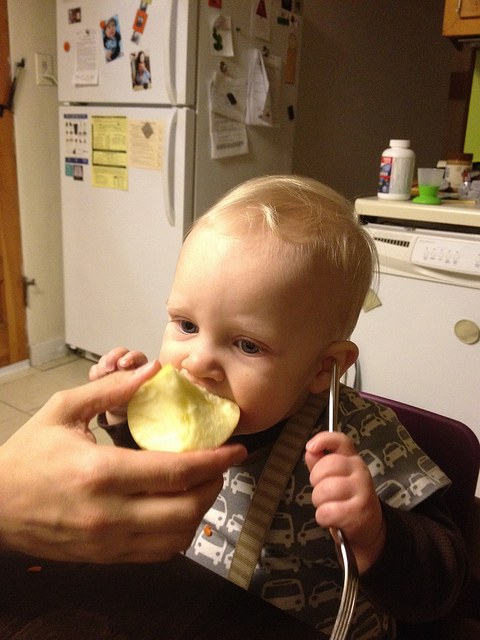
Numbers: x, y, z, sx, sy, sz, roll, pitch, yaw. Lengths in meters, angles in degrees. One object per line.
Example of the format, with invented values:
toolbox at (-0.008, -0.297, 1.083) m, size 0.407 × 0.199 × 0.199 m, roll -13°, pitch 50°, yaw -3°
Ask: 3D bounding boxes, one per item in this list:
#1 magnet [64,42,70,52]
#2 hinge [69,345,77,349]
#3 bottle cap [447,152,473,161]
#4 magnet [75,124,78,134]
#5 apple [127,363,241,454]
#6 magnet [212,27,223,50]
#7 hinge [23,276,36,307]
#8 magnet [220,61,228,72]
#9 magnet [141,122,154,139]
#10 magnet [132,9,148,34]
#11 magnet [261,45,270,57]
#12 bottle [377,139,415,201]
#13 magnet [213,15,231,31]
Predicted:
magnet at (-0.818, -1.286, 2.355) m, size 0.028 × 0.038 × 0.010 m, roll 12°, pitch 13°, yaw 42°
hinge at (-0.960, 0.154, 2.871) m, size 0.031 × 0.008 × 0.031 m, roll 5°, pitch -11°, yaw 25°
bottle cap at (0.865, -0.648, 1.984) m, size 0.059 × 0.024 × 0.058 m, roll -15°, pitch 21°, yaw -43°
magnet at (-0.803, -0.941, 2.437) m, size 0.008 × 0.028 × 0.015 m, roll -8°, pitch 21°, yaw -30°
apple at (-0.064, 0.103, 0.553) m, size 0.114 × 0.068 × 0.126 m, roll 6°, pitch 39°, yaw 1°
magnet at (-0.091, -1.136, 2.006) m, size 0.027 × 0.067 × 0.008 m, roll -20°, pitch 22°, yaw -32°
hinge at (-1.128, -0.159, 2.653) m, size 0.042 × 0.147 × 0.120 m, roll -5°, pitch 19°, yaw -30°
magnet at (-0.069, -1.050, 2.067) m, size 0.031 × 0.035 × 0.010 m, roll -5°, pitch 6°, yaw -22°
magnet at (-0.398, -0.812, 2.129) m, size 0.014 × 0.054 × 0.054 m, roll -8°, pitch 63°, yaw -45°
magnet at (-0.410, -1.219, 2.035) m, size 0.075 × 0.079 × 0.075 m, roll 14°, pitch 22°, yaw -4°
magnet at (0.113, -1.213, 2.250) m, size 0.036 × 0.047 × 0.035 m, roll 0°, pitch 25°, yaw -13°
bottle at (0.565, -0.540, 1.795) m, size 0.114 × 0.213 × 0.116 m, roll 3°, pitch 16°, yaw -1°
magnet at (-0.074, -1.184, 2.001) m, size 0.052 × 0.056 × 0.014 m, roll -8°, pitch 13°, yaw -39°
